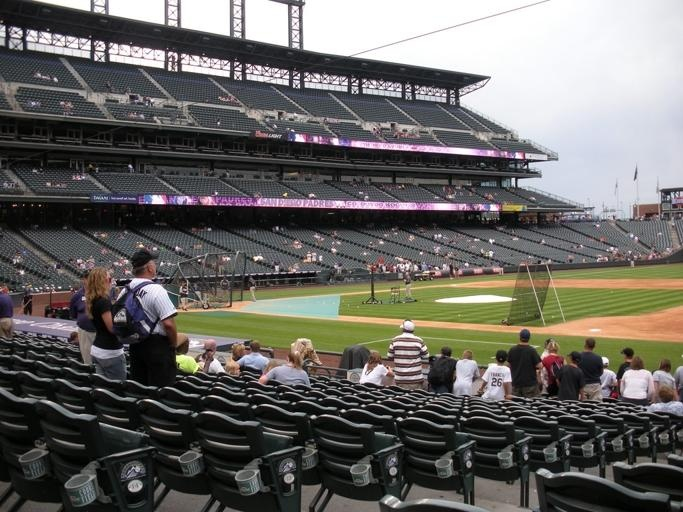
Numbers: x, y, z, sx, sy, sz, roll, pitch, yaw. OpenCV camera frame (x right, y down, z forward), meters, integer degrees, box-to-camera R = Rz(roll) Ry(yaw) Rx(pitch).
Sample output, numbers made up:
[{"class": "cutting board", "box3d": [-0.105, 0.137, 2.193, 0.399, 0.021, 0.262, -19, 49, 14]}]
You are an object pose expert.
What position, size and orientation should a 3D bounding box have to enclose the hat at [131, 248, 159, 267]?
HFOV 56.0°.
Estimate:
[{"class": "hat", "box3d": [-2.522, 0.027, 8.297, 0.217, 0.141, 0.304, 15, 38, 34]}]
